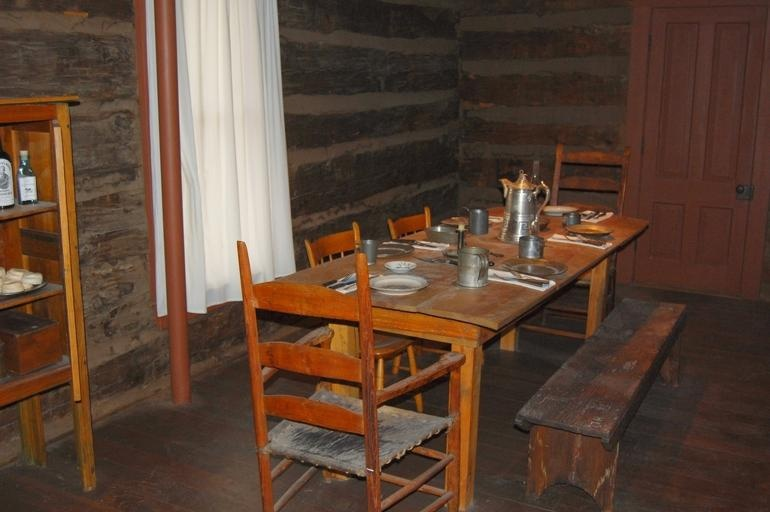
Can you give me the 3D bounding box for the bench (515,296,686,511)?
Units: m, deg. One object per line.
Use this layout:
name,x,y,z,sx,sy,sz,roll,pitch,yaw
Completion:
bench,1.224,0.840,3.270,0.371,0.329,1.211,14,27,34

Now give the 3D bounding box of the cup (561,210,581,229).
cup,1.295,-0.251,4.140,0.156,0.102,0.143,1,1,0

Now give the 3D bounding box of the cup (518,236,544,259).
cup,0.852,-0.048,3.421,0.174,0.094,0.137,1,10,14

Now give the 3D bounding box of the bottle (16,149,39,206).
bottle,-1.769,-0.390,2.913,0.074,0.253,0.160,-5,20,-9
